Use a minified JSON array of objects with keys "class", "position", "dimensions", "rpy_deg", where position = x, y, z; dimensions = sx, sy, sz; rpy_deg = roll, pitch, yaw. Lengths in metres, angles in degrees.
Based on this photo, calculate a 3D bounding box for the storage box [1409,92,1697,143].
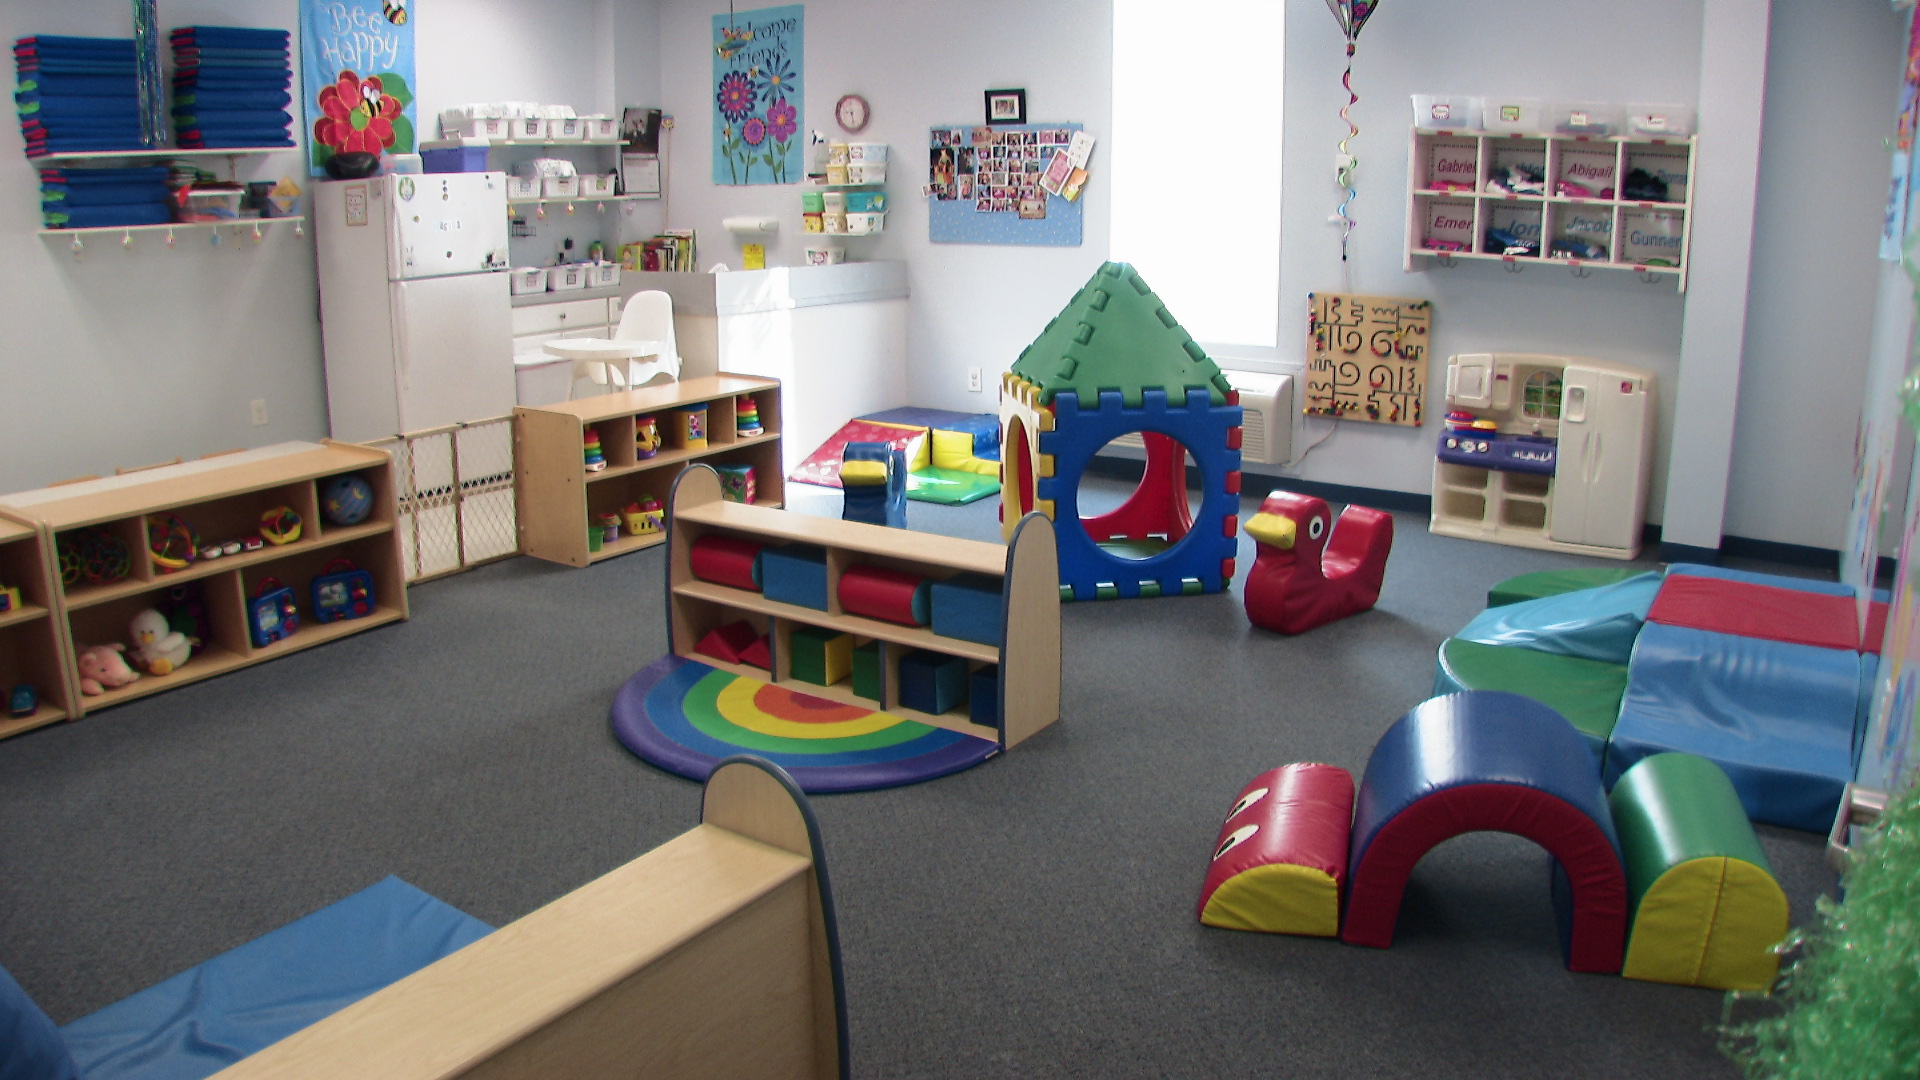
[{"class":"storage box","position":[4.287,-3.038,9.053],"dimensions":[1.867,0.278,0.138],"rpy_deg":[7,19,18]}]

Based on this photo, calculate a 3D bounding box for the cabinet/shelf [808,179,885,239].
[{"class":"cabinet/shelf","position":[-1.062,-3.193,11.830],"dimensions":[0.931,0.570,0.465],"rpy_deg":[5,13,23]}]

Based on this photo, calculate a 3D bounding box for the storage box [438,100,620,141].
[{"class":"storage box","position":[-3.902,-3.758,11.336],"dimensions":[0.600,0.318,1.457],"rpy_deg":[18,24,42]}]

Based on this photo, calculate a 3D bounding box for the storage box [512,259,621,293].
[{"class":"storage box","position":[-3.629,-2.392,11.529],"dimensions":[1.048,0.242,0.168],"rpy_deg":[-14,23,-40]}]

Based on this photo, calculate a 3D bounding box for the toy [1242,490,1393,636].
[{"class":"toy","position":[2.398,0.116,8.377],"dimensions":[1.041,0.869,0.434],"rpy_deg":[-11,22,-34]}]

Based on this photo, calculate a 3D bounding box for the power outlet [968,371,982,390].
[{"class":"power outlet","position":[0.152,-1.498,11.738],"dimensions":[0.172,0.190,0.026],"rpy_deg":[6,10,38]}]

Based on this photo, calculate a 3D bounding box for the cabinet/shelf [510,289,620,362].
[{"class":"cabinet/shelf","position":[-3.634,-2.012,11.495],"dimensions":[0.213,0.428,1.117],"rpy_deg":[15,22,36]}]

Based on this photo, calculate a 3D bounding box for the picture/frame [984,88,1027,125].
[{"class":"picture/frame","position":[0.431,-3.850,11.122],"dimensions":[0.353,0.264,0.027],"rpy_deg":[6,9,29]}]

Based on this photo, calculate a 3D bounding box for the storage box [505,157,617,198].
[{"class":"storage box","position":[-3.702,-3.321,11.562],"dimensions":[1.102,0.347,0.286],"rpy_deg":[-16,24,-43]}]

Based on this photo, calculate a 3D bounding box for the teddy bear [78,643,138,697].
[{"class":"teddy bear","position":[-5.056,0.764,7.396],"dimensions":[0.292,0.235,0.186],"rpy_deg":[-5,19,-17]}]

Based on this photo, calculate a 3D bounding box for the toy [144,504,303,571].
[{"class":"toy","position":[-4.596,-0.038,7.764],"dimensions":[0.388,0.232,0.602],"rpy_deg":[2,8,38]}]

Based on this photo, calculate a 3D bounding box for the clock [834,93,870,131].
[{"class":"clock","position":[-0.994,-4.015,11.758],"dimensions":[0.366,0.348,0.061],"rpy_deg":[5,9,30]}]

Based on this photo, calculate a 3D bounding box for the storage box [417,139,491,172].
[{"class":"storage box","position":[-4.434,-3.310,10.815],"dimensions":[0.637,0.226,0.338],"rpy_deg":[13,21,34]}]

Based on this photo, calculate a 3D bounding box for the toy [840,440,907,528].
[{"class":"toy","position":[-0.608,-0.382,8.866],"dimensions":[0.515,0.484,0.831],"rpy_deg":[-2,-28,-1]}]
